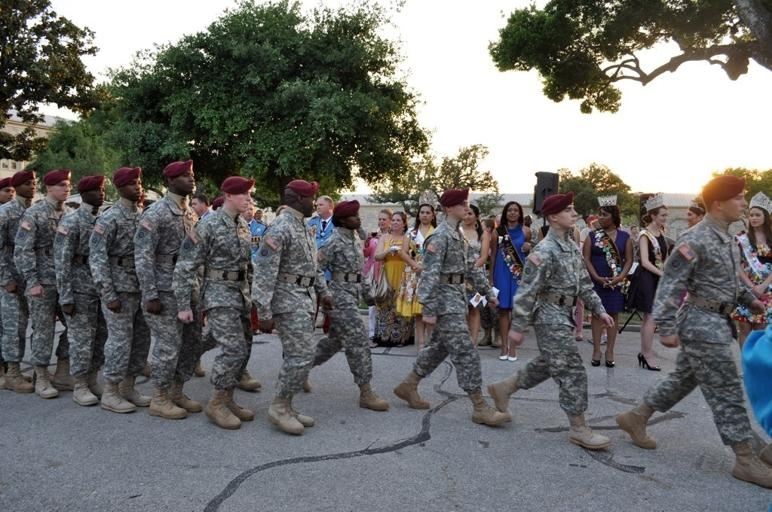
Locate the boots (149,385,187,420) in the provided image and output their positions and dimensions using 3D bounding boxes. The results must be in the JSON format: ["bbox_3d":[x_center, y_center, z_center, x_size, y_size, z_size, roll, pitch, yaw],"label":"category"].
[{"bbox_3d":[-2.390,1.698,6.870,0.611,0.358,0.208,4,-2,7],"label":"boots"}]

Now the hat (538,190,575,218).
[{"bbox_3d":[1.843,-0.590,6.527,0.295,0.166,0.321,11,-40,-8],"label":"hat"}]

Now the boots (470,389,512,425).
[{"bbox_3d":[1.169,1.673,6.656,0.201,0.354,0.537,-2,-4,-37],"label":"boots"}]

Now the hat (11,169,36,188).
[{"bbox_3d":[-4.898,-1.036,8.020,0.344,0.164,0.234,-25,10,-8],"label":"hat"}]

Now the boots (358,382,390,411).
[{"bbox_3d":[-0.059,1.680,7.133,0.537,0.310,0.172,1,3,23],"label":"boots"}]

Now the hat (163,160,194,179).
[{"bbox_3d":[-2.373,-1.037,6.919,0.244,0.083,0.287,-5,24,27],"label":"hat"}]

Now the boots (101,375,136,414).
[{"bbox_3d":[-3.064,1.611,6.963,0.553,0.335,0.190,4,-1,25],"label":"boots"}]

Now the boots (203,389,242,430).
[{"bbox_3d":[-1.736,1.653,6.568,0.504,0.435,0.212,13,4,34],"label":"boots"}]

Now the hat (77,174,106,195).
[{"bbox_3d":[-3.613,-0.855,7.355,0.293,0.128,0.226,-9,7,46],"label":"hat"}]

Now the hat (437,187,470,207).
[{"bbox_3d":[0.811,-0.695,6.900,0.289,0.102,0.216,-26,11,-39],"label":"hat"}]

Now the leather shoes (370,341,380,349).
[{"bbox_3d":[-0.190,1.511,10.271,0.099,0.098,0.249,-2,-7,7],"label":"leather shoes"}]

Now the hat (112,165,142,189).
[{"bbox_3d":[-3.043,-0.929,7.170,0.258,0.174,0.336,-17,13,19],"label":"hat"}]

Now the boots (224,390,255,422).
[{"bbox_3d":[-1.728,1.701,6.828,0.518,0.357,0.182,0,5,-10],"label":"boots"}]

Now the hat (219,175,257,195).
[{"bbox_3d":[-1.669,-0.767,6.698,0.302,0.102,0.231,1,22,20],"label":"hat"}]

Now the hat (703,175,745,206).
[{"bbox_3d":[3.325,-0.640,5.901,0.364,0.284,0.220,4,8,20],"label":"hat"}]

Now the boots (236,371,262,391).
[{"bbox_3d":[-1.849,1.641,7.826,0.177,0.200,0.521,3,-7,-40],"label":"boots"}]

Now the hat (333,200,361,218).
[{"bbox_3d":[-0.456,-0.559,7.189,0.293,0.096,0.192,-3,27,29],"label":"hat"}]

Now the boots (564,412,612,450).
[{"bbox_3d":[2.076,1.778,6.106,0.215,0.316,0.494,-4,-2,-31],"label":"boots"}]

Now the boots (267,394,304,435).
[{"bbox_3d":[-1.041,1.686,6.437,0.536,0.327,0.184,11,6,42],"label":"boots"}]
